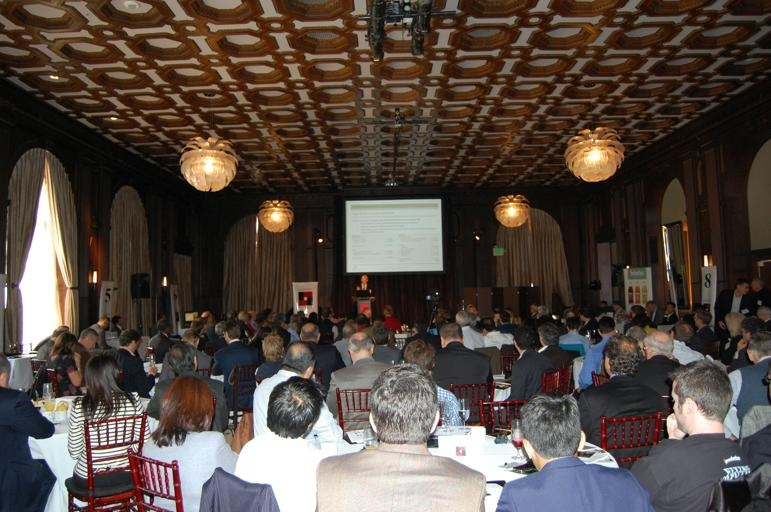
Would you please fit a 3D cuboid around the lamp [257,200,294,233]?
[{"bbox_3d":[-2.936,-1.078,13.861,0.948,0.833,0.946,0,5,-19],"label":"lamp"}]

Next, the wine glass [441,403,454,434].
[{"bbox_3d":[0.536,1.437,4.655,0.061,0.178,0.133,-5,1,-19],"label":"wine glass"}]

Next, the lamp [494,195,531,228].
[{"bbox_3d":[3.404,-1.143,14.010,0.924,0.889,0.943,-6,-19,10],"label":"lamp"}]

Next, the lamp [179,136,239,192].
[{"bbox_3d":[-3.268,-1.620,9.678,1.001,1.002,1.036,-7,-9,40],"label":"lamp"}]

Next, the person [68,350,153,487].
[{"bbox_3d":[-2.498,1.436,4.654,0.587,1.103,0.350,0,-9,-22],"label":"person"}]

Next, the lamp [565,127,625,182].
[{"bbox_3d":[3.810,-1.798,9.543,1.033,0.997,1.018,3,-4,7],"label":"lamp"}]

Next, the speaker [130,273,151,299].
[{"bbox_3d":[-6.194,0.761,13.149,0.334,0.640,0.657,0,-1,5],"label":"speaker"}]
